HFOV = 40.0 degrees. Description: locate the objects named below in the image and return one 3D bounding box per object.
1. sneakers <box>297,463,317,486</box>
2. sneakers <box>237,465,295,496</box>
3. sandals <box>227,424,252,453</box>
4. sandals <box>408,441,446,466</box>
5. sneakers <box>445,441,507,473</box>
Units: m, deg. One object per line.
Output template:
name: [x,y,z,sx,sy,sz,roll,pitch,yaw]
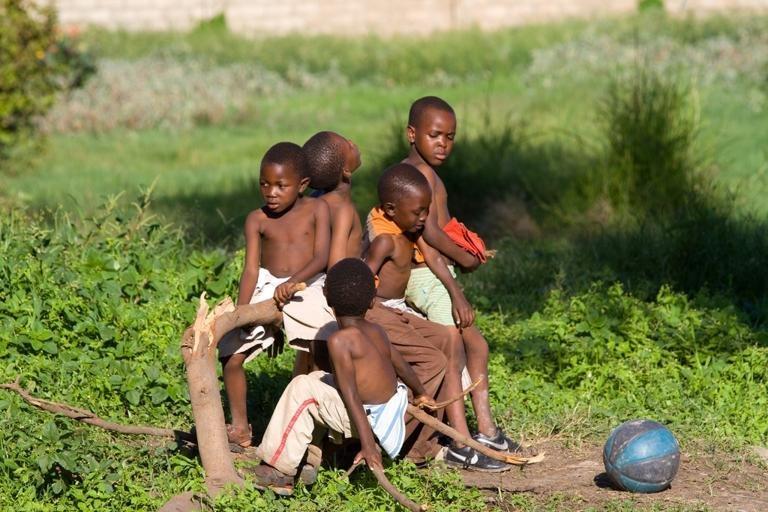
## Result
sneakers: [-0.613,1.755,8.516,0.157,0.166,0.139,9,17,26]
sneakers: [-0.975,1.783,8.507,0.448,0.212,0.191,21,2,-15]
sandals: [-1.267,1.561,9.074,0.116,0.137,0.327,-26,17,-22]
sandals: [0.358,1.685,8.958,0.243,0.133,0.185,-10,-3,-11]
sneakers: [0.785,1.727,9.124,0.556,0.243,0.204,2,3,3]
